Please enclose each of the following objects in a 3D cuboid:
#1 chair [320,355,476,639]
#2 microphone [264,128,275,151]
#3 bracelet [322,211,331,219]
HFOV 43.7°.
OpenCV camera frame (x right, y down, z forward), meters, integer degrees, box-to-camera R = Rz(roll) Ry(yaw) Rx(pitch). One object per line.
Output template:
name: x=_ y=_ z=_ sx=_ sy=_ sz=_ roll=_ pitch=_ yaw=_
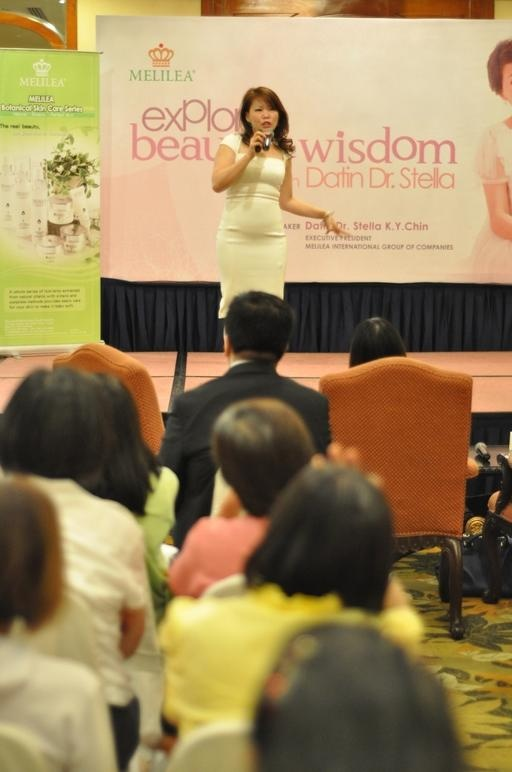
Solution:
chair: x=0.497 y=0.419 z=2.560 sx=0.601 sy=1.032 sz=0.651 roll=-2 pitch=0 yaw=2
microphone: x=0.059 y=-1.366 z=3.532 sx=0.045 sy=0.050 sz=0.174 roll=18 pitch=48 yaw=10
bracelet: x=0.430 y=-1.026 z=3.804 sx=0.050 sy=0.051 sz=0.055 roll=-2 pitch=7 yaw=-7
